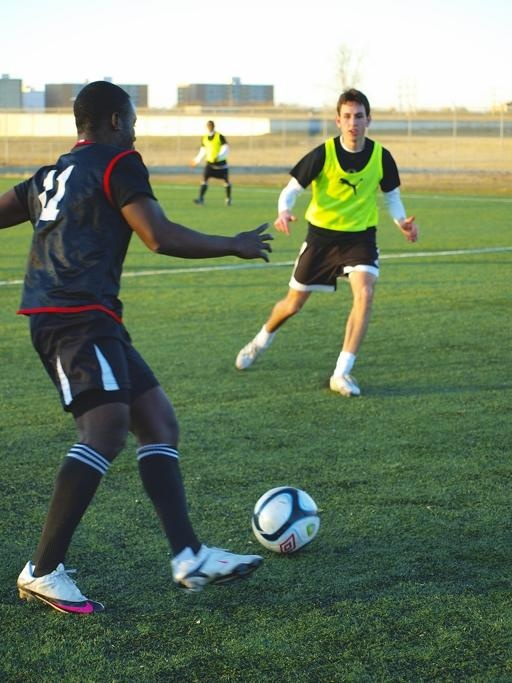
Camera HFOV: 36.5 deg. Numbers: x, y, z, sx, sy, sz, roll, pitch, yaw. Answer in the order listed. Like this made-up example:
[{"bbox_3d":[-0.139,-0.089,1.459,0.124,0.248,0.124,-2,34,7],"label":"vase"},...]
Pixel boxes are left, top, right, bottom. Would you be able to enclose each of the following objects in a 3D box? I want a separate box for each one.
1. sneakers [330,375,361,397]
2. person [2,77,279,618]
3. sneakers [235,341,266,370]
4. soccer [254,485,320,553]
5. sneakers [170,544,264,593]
[{"bbox_3d":[0.524,0.246,4.533,0.185,0.106,0.227,0,13,4],"label":"sneakers"},{"bbox_3d":[-0.433,-0.034,2.448,0.841,1.566,0.846,-2,16,-1],"label":"person"},{"bbox_3d":[-0.045,0.086,5.072,0.138,0.224,0.059,47,17,-6],"label":"sneakers"},{"bbox_3d":[0.112,0.646,2.774,0.284,0.195,0.218,-12,-33,18],"label":"soccer"},{"bbox_3d":[-0.130,0.639,2.324,0.328,0.123,0.101,-8,30,-18],"label":"sneakers"}]
